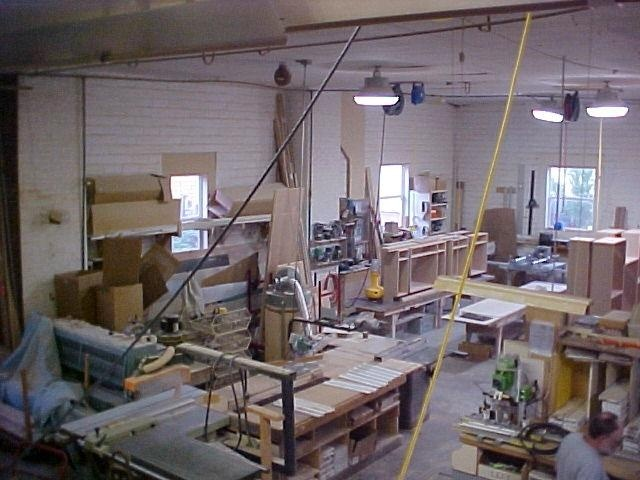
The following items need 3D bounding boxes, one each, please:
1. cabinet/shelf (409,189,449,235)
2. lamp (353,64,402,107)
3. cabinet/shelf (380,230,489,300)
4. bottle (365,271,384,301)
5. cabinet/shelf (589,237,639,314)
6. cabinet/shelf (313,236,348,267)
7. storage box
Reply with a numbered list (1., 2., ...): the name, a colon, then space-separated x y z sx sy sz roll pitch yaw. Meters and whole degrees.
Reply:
1. cabinet/shelf: 2.142 -0.645 12.020 0.412 0.703 0.429 7 25 11
2. lamp: 0.646 -1.777 6.572 0.558 0.411 0.565 14 22 38
3. cabinet/shelf: 1.950 0.448 10.999 0.553 1.111 2.504 4 5 43
4. bottle: 0.945 0.792 9.978 0.315 0.501 0.304 1 3 0
5. cabinet/shelf: 3.799 0.440 7.422 0.511 0.912 1.442 3 4 30
6. cabinet/shelf: 0.174 0.186 9.657 0.374 0.464 1.061 2 4 24
7. storage box: -1.960 0.162 7.218 0.852 2.042 2.216 2 8 24
